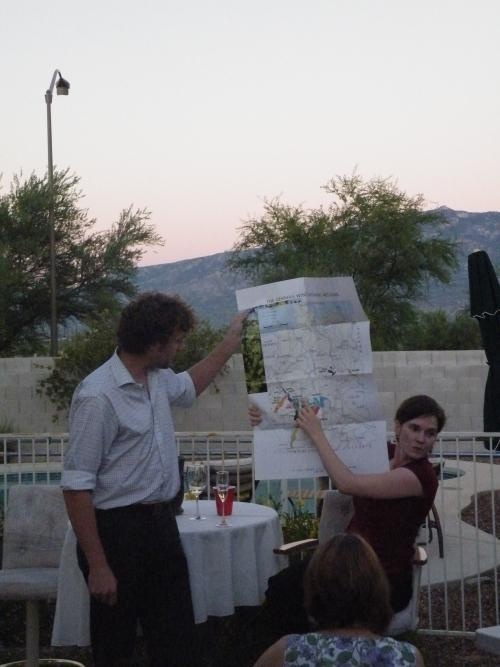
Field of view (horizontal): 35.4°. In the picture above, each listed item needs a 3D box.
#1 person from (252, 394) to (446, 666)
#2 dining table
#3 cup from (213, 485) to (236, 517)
[{"bbox_3d":[0.613,0.782,3.461,0.378,0.889,0.683,-9,-4,42],"label":"person"},{"bbox_3d":[-0.043,1.164,4.231,0.667,0.307,0.600,-4,4,-18],"label":"dining table"},{"bbox_3d":[-0.156,0.952,4.459,0.162,0.149,0.163,-2,-4,0],"label":"cup"}]
